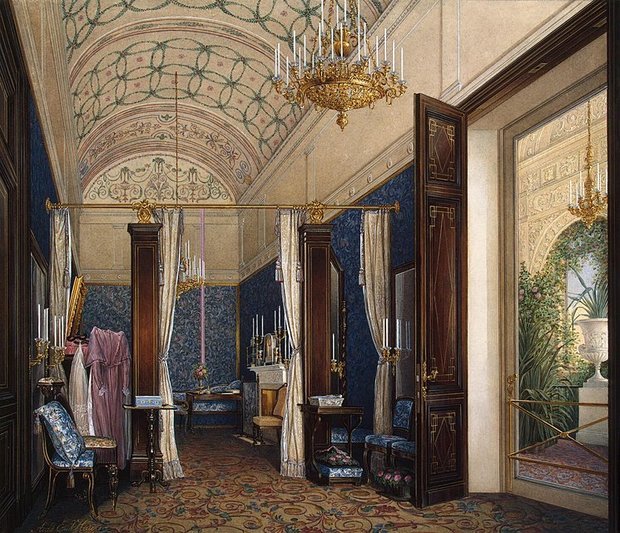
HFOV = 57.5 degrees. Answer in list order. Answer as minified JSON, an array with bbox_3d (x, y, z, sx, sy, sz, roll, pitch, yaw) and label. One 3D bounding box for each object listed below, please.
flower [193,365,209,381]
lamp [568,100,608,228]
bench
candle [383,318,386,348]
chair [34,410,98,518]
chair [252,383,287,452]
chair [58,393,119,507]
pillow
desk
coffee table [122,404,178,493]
[{"bbox_3d":[-2.906,2.770,14.834,0.325,0.523,0.195,2,-8,-9],"label":"flower"},{"bbox_3d":[3.506,-1.284,7.182,0.403,1.562,1.174,-4,-9,27],"label":"lamp"},{"bbox_3d":[0.958,2.044,6.519,0.539,1.036,1.245,0,-9,-6],"label":"bench"},{"bbox_3d":[0.938,0.807,7.043,0.052,0.378,0.193,-1,-7,7],"label":"candle"},{"bbox_3d":[-2.356,1.838,5.589,0.463,1.025,0.672,0,2,-10],"label":"chair"},{"bbox_3d":[-0.688,2.599,10.048,0.706,1.178,0.714,-2,-10,36],"label":"chair"},{"bbox_3d":[-2.452,1.929,6.344,0.582,1.328,0.708,6,-6,-31],"label":"chair"},{"bbox_3d":[-2.405,1.693,5.449,0.460,0.785,0.434,3,-8,-25],"label":"pillow"},{"bbox_3d":[0.240,2.214,7.183,0.507,1.005,0.953,5,-9,-26],"label":"desk"},{"bbox_3d":[-1.948,2.135,6.876,0.639,0.925,0.716,3,-10,-12],"label":"coffee table"}]
